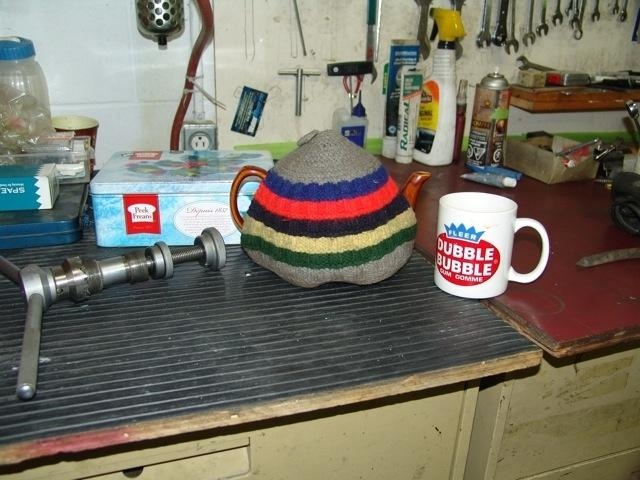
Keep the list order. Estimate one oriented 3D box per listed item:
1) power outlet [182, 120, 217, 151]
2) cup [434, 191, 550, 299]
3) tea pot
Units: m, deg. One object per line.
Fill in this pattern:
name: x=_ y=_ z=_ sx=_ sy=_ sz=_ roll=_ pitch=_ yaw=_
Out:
power outlet: x=-0.313 y=-0.276 z=1.324 sx=0.086 sy=0.072 sz=0.085 roll=2 pitch=22 yaw=5
cup: x=0.243 y=0.002 z=0.837 sx=0.204 sy=0.157 sz=0.128 roll=3 pitch=17 yaw=7
tea pot: x=0.014 y=-0.052 z=0.710 sx=0.320 sy=0.207 sz=0.239 roll=-3 pitch=28 yaw=-2
